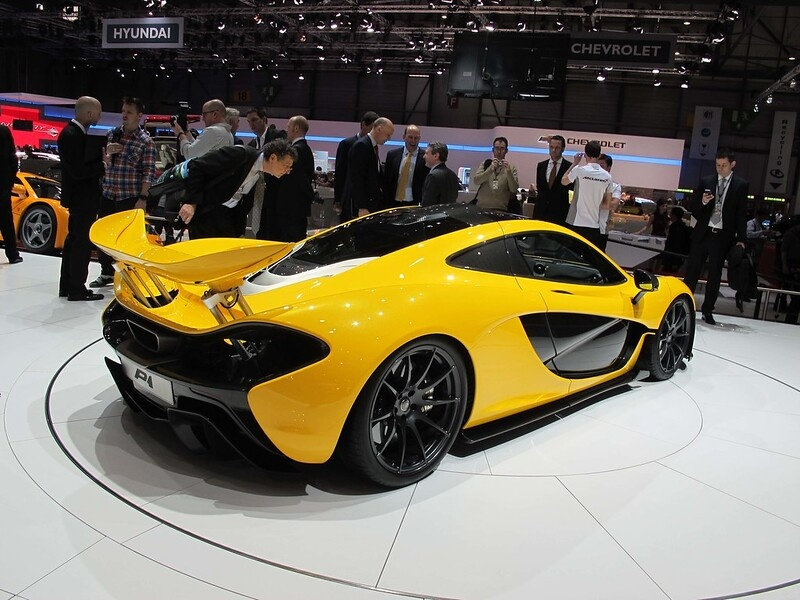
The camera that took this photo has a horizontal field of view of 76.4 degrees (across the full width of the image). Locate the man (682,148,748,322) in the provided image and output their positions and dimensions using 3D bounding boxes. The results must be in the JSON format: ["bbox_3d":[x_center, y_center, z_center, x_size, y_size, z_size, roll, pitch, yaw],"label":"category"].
[{"bbox_3d":[4.043,-0.814,6.477,0.619,2.064,0.632,-14,22,-40],"label":"man"}]

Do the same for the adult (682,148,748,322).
[{"bbox_3d":[4.041,-0.792,6.472,0.632,2.065,0.619,13,21,33],"label":"adult"}]

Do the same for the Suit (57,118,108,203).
[{"bbox_3d":[-3.368,-1.433,5.372,0.428,0.880,0.325,-7,18,-32],"label":"Suit"}]

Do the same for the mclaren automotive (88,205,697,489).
[{"bbox_3d":[0.239,0.095,3.053,3.017,0.897,1.707,-11,21,-38],"label":"mclaren automotive"}]

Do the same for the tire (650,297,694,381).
[{"bbox_3d":[2.300,0.307,4.293,0.166,0.604,0.564,15,6,42],"label":"tire"}]

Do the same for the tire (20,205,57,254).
[{"bbox_3d":[-5.093,-1.005,7.259,0.624,0.692,0.227,8,-2,11],"label":"tire"}]

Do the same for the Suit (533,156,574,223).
[{"bbox_3d":[2.141,-1.497,6.990,0.646,1.167,0.259,13,19,40],"label":"Suit"}]

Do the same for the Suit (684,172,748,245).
[{"bbox_3d":[4.078,-1.160,6.450,0.633,0.862,0.430,12,16,31],"label":"Suit"}]

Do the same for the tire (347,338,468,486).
[{"bbox_3d":[0.004,0.531,2.663,0.775,0.825,0.251,-5,14,-42],"label":"tire"}]

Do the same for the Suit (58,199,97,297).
[{"bbox_3d":[-3.411,-0.530,5.387,0.253,1.160,0.317,4,-11,-33],"label":"Suit"}]

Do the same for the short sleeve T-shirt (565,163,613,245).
[{"bbox_3d":[2.392,-1.301,6.390,0.590,0.814,0.285,9,7,2],"label":"short sleeve T-shirt"}]

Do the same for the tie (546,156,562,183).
[{"bbox_3d":[2.083,-1.726,6.842,0.138,0.359,0.247,0,15,-11],"label":"tie"}]
